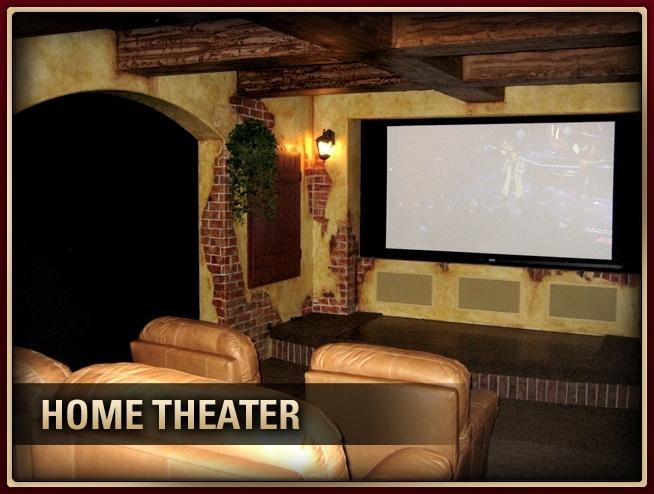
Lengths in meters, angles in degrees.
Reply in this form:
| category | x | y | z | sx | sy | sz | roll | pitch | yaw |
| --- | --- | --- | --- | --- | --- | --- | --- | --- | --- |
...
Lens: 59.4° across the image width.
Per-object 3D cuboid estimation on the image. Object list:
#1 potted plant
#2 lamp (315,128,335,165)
| category | x | y | z | sx | sy | sz | roll | pitch | yaw |
| --- | --- | --- | --- | --- | --- | --- | --- | --- | --- |
| potted plant | -0.780 | -0.793 | 5.950 | 0.408 | 0.964 | 0.676 | 0 | 1 | 34 |
| lamp | -0.012 | -1.287 | 7.079 | 0.245 | 0.394 | 0.291 | 1 | -3 | 0 |
